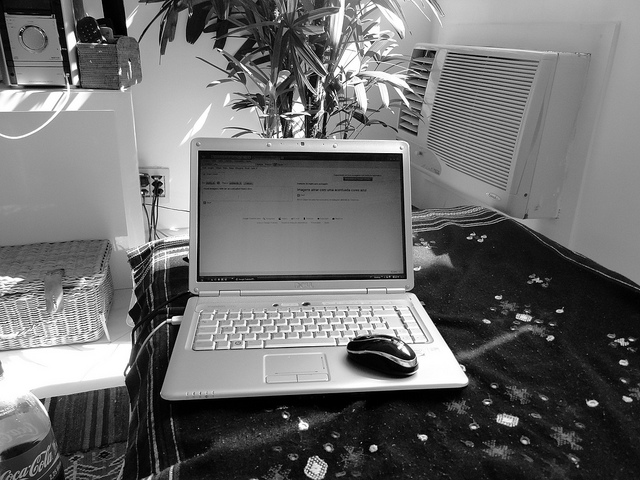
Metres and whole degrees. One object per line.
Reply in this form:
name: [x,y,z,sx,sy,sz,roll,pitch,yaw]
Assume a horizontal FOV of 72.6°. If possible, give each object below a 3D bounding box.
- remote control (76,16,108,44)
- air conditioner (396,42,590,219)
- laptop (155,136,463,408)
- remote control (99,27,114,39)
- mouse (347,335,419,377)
remote control: [-0.847,-0.776,1.609,0.096,0.086,0.040,-10,23,-26]
air conditioner: [0.621,-0.511,1.787,0.255,0.558,0.757,-13,29,-22]
laptop: [-0.036,0.076,0.879,0.526,0.399,0.471,-3,31,-6]
remote control: [-0.811,-0.787,1.652,0.047,0.052,0.052,1,52,-15]
mouse: [0.102,0.191,0.756,0.132,0.049,0.085,7,6,39]
